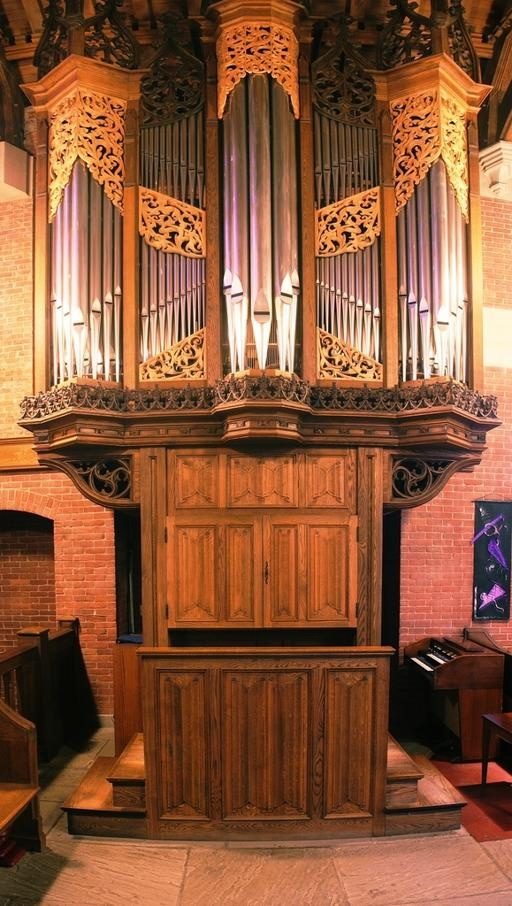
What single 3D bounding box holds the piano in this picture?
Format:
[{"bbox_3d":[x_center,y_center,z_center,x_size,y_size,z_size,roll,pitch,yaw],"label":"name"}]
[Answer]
[{"bbox_3d":[1.643,1.923,7.969,0.655,1.117,1.309,1,-9,-2],"label":"piano"}]
